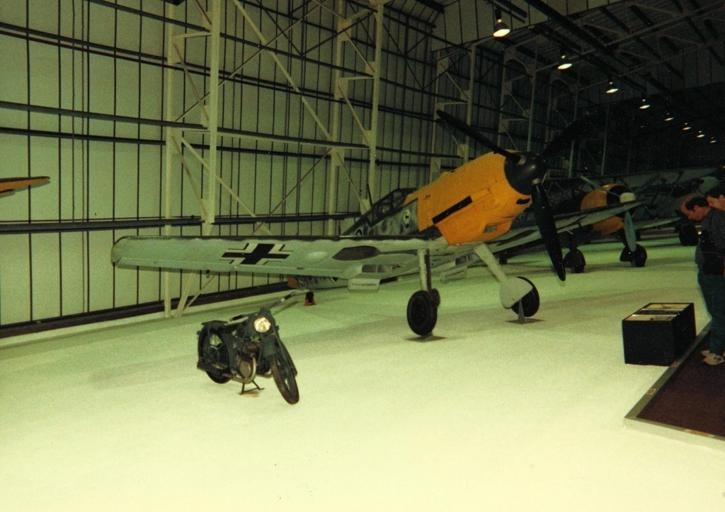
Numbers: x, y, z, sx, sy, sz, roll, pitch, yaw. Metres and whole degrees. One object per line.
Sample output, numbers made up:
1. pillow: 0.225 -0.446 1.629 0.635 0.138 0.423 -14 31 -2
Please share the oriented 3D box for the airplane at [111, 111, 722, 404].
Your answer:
1. airplane: -0.392 -0.121 9.323 5.773 2.220 6.399 -9 2 44
